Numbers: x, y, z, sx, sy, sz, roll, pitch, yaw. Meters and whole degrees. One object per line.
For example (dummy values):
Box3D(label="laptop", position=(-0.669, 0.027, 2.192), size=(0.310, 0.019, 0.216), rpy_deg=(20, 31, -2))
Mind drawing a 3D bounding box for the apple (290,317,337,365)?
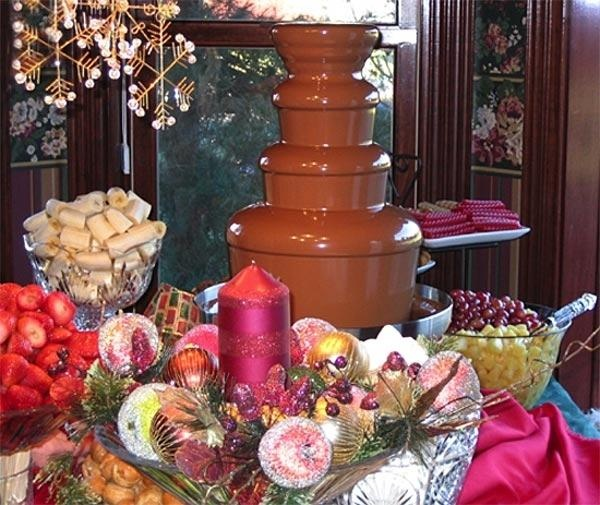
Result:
Box3D(label="apple", position=(0.007, 0.077, 0.572), size=(0.051, 0.030, 0.028), rpy_deg=(-10, 12, -34))

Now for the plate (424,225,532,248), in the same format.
Box3D(label="plate", position=(0.507, -0.037, 1.942), size=(0.188, 0.032, 0.135), rpy_deg=(-4, -2, -13))

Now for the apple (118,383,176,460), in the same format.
Box3D(label="apple", position=(-0.104, 0.119, 0.462), size=(0.022, 0.052, 0.048), rpy_deg=(-3, -19, -3))

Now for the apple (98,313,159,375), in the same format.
Box3D(label="apple", position=(-0.138, 0.069, 0.525), size=(0.048, 0.056, 0.029), rpy_deg=(-10, 31, -22))

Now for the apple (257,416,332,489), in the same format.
Box3D(label="apple", position=(-0.002, 0.130, 0.415), size=(0.039, 0.046, 0.020), rpy_deg=(5, -4, -8))

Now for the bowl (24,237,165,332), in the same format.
Box3D(label="bowl", position=(-0.352, 0.056, 1.089), size=(0.213, 0.192, 0.207), rpy_deg=(6, 3, 0))
